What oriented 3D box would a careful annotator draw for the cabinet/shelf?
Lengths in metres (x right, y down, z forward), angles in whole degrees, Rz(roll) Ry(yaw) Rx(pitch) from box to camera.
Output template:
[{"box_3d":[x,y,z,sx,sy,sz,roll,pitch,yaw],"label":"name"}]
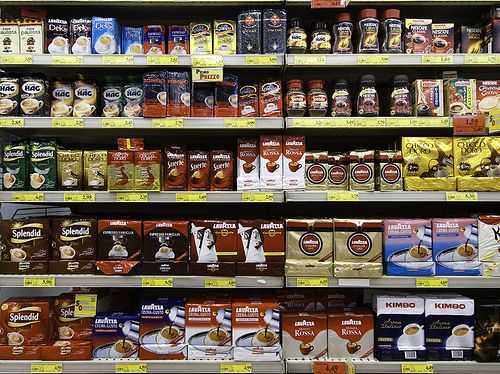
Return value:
[{"box_3d":[-0.008,0.020,3.920,3.732,1.867,0.531,0,5,0],"label":"cabinet/shelf"}]
